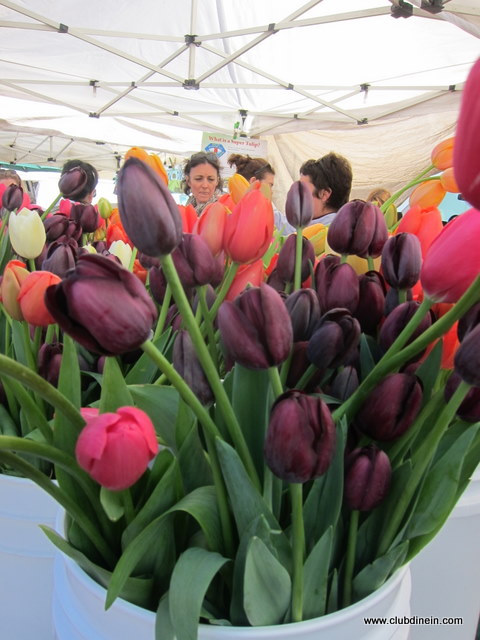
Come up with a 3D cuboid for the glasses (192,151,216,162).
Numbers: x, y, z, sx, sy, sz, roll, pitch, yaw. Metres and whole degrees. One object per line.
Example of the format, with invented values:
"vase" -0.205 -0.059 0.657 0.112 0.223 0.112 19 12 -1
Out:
"glasses" -0.231 -1.074 2.709 0.108 0.037 0.107 4 0 5
